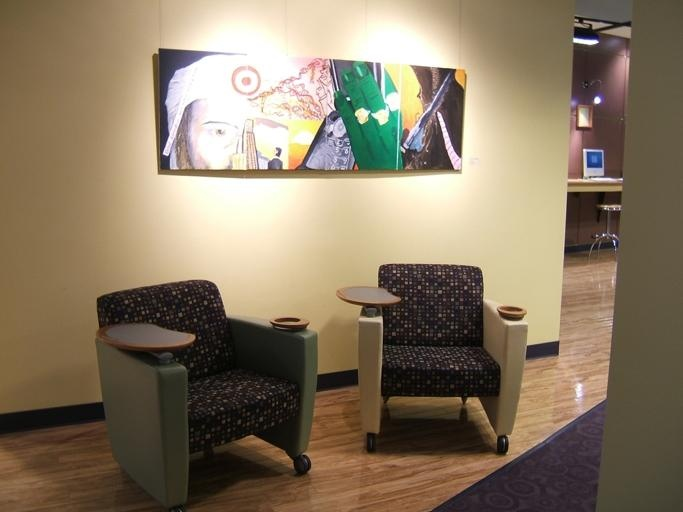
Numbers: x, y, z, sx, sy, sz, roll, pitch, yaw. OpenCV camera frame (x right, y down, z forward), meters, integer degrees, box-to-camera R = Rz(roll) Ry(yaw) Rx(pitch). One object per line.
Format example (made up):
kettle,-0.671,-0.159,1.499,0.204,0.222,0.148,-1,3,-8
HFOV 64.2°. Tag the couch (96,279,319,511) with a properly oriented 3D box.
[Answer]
couch,-0.877,0.561,3.357,1.185,1.198,1.193,-4,6,-38

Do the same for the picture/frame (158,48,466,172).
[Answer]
picture/frame,-0.172,-1.022,3.970,2.228,0.826,0.209,-3,13,-15

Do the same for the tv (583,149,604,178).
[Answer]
tv,4.338,-1.591,9.428,0.492,0.529,0.163,-5,4,-33

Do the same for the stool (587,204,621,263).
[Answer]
stool,4.766,-0.507,9.874,0.450,0.965,1.673,6,13,25

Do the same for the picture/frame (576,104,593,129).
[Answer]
picture/frame,4.210,-2.432,9.484,0.391,0.498,0.134,-2,3,-27
